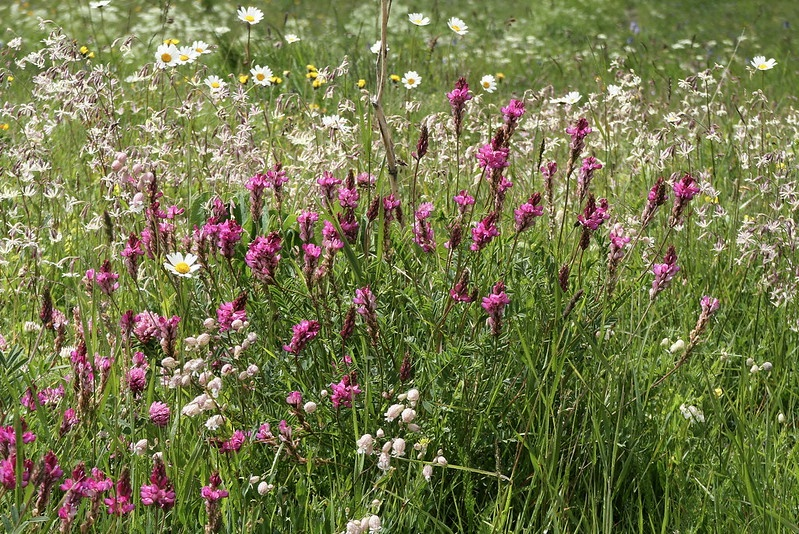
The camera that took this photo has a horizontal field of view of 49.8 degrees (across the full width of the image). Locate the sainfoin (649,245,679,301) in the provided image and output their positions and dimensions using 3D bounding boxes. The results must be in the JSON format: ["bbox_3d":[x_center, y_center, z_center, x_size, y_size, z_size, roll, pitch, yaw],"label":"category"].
[{"bbox_3d":[1.045,0.005,3.395,0.091,0.280,0.293,5,23,16],"label":"sainfoin"}]

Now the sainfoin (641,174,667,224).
[{"bbox_3d":[1.008,-0.272,3.418,0.080,0.255,0.264,5,22,15],"label":"sainfoin"}]
